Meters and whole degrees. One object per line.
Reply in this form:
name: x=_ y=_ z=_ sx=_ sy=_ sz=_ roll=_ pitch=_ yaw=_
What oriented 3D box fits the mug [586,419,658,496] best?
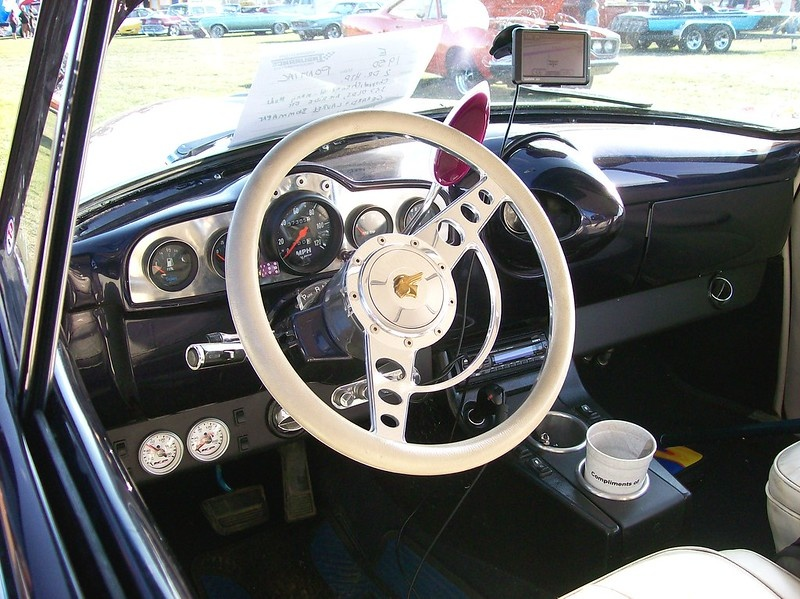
mug: x=0.525 y=0.385 z=1.714 sx=0.145 sy=0.141 sz=0.139 roll=-25 pitch=39 yaw=-31

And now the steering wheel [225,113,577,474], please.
steering wheel: x=0.010 y=-0.004 z=1.298 sx=0.605 sy=0.599 sz=0.656 roll=9 pitch=65 yaw=-19
